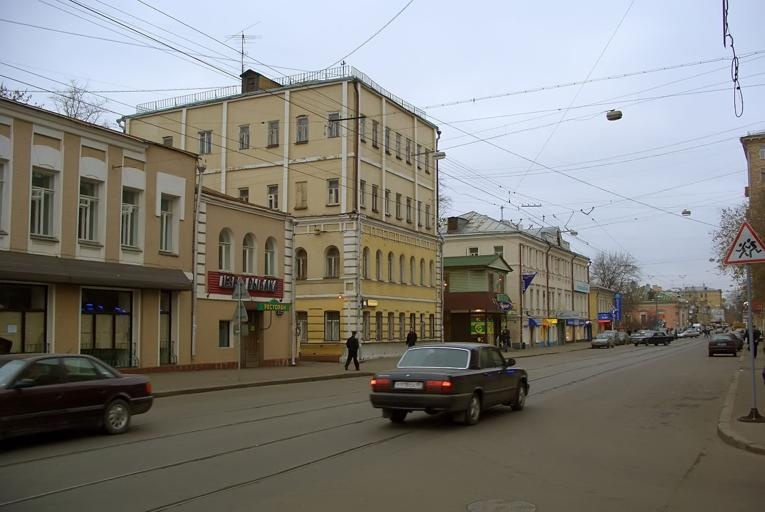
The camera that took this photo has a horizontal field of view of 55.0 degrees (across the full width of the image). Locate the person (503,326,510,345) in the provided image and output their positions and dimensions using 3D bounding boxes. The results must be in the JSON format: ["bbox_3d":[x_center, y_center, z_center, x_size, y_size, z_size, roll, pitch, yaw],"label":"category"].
[{"bbox_3d":[10.277,6.810,61.100,0.548,1.375,0.837,-2,-9,6],"label":"person"}]

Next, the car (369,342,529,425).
[{"bbox_3d":[1.915,3.355,19.308,4.119,2.057,1.841,8,-13,-42],"label":"car"}]
